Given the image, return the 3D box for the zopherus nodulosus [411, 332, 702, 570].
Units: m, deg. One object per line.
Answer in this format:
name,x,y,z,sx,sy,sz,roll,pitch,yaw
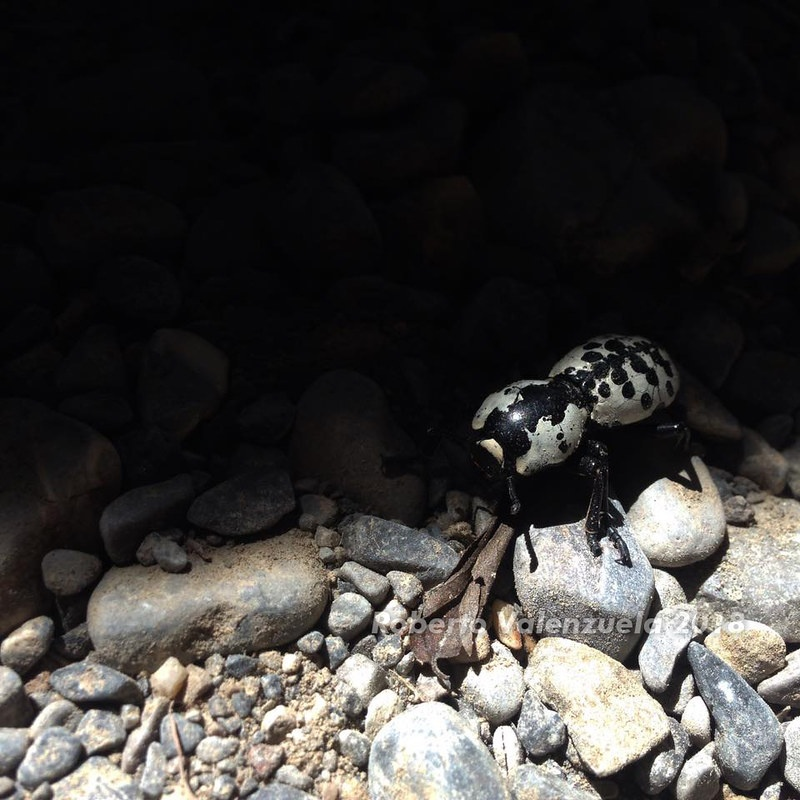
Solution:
zopherus nodulosus,0.409,0.056,1.832,0.558,0.303,0.513,-34,47,-15
